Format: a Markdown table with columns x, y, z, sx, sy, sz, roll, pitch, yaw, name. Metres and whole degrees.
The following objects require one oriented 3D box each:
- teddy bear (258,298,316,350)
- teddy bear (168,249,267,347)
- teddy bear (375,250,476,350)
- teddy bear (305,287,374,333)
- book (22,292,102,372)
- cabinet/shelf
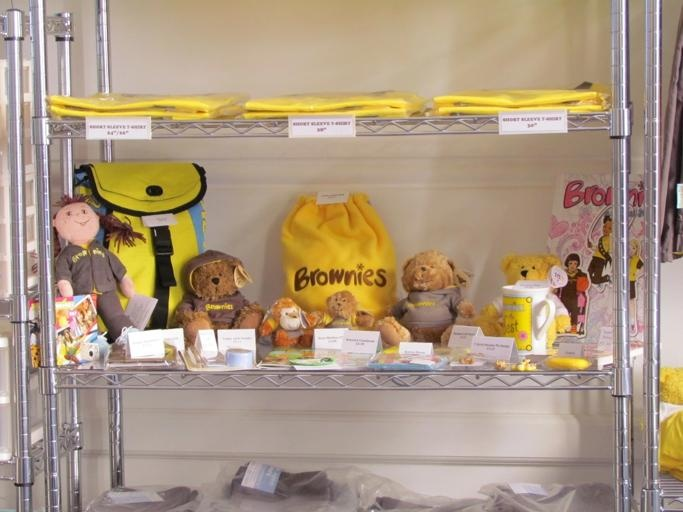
| x | y | z | sx | sy | sz | roll | pitch | yaw | name |
| --- | --- | --- | --- | --- | --- | --- | --- | --- | --- |
| -0.143 | 0.178 | 1.975 | 0.180 | 0.119 | 0.113 | -3 | 6 | -23 | teddy bear |
| -0.359 | 0.121 | 2.018 | 0.268 | 0.241 | 0.204 | -3 | 8 | -35 | teddy bear |
| 0.249 | 0.137 | 2.016 | 0.305 | 0.299 | 0.255 | -3 | -14 | 27 | teddy bear |
| -0.004 | 0.158 | 1.955 | 0.166 | 0.122 | 0.106 | 0 | -6 | 2 | teddy bear |
| -0.691 | 0.193 | 1.797 | 0.228 | 0.222 | 0.009 | -2 | -7 | -33 | book |
| 0.042 | -0.046 | 2.004 | 1.715 | 1.499 | 0.566 | 0 | -3 | 2 | cabinet/shelf |
